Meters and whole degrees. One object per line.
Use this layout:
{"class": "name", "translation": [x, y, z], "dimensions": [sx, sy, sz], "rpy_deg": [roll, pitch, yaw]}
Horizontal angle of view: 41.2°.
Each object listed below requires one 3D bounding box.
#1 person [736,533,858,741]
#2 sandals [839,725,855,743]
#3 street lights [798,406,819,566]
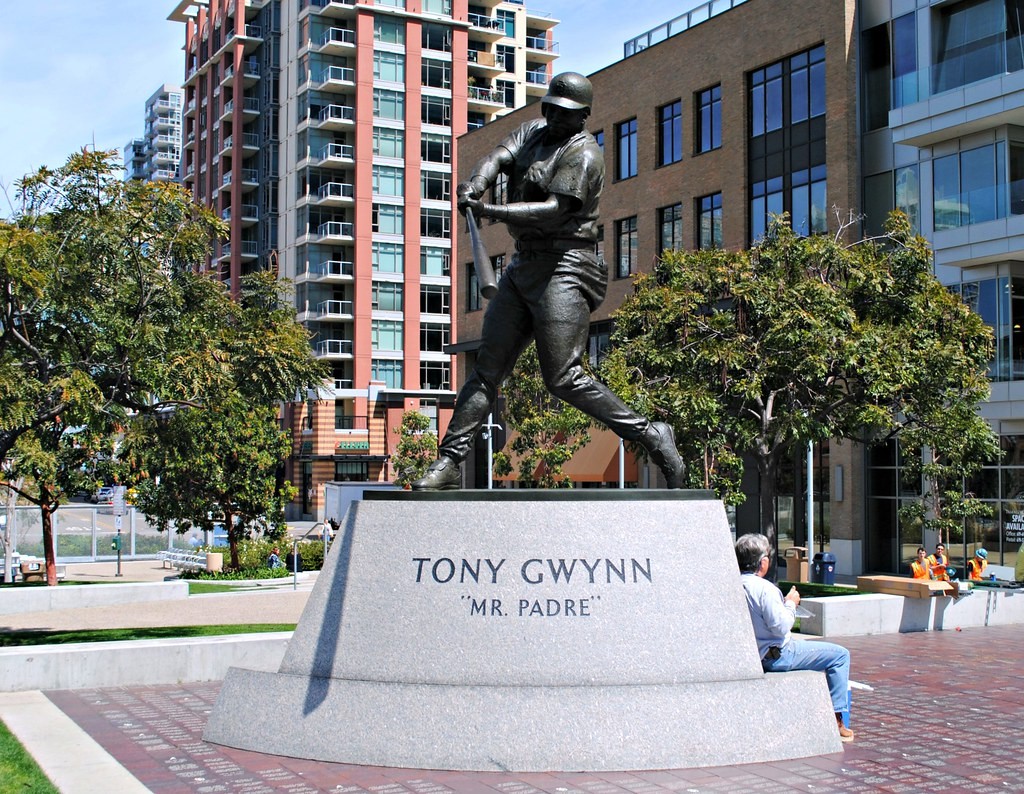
{"class": "person", "translation": [3.410, 2.921, 16.485], "dimensions": [1.265, 2.347, 0.501], "rpy_deg": [-3, 0, -9]}
{"class": "sandals", "translation": [4.085, 4.113, 16.589], "dimensions": [0.102, 0.133, 0.291], "rpy_deg": [-1, -22, 3]}
{"class": "street lights", "translation": [8.012, 2.279, 36.829], "dimensions": [0.368, 4.495, 0.310], "rpy_deg": [-6, 10, -13]}
